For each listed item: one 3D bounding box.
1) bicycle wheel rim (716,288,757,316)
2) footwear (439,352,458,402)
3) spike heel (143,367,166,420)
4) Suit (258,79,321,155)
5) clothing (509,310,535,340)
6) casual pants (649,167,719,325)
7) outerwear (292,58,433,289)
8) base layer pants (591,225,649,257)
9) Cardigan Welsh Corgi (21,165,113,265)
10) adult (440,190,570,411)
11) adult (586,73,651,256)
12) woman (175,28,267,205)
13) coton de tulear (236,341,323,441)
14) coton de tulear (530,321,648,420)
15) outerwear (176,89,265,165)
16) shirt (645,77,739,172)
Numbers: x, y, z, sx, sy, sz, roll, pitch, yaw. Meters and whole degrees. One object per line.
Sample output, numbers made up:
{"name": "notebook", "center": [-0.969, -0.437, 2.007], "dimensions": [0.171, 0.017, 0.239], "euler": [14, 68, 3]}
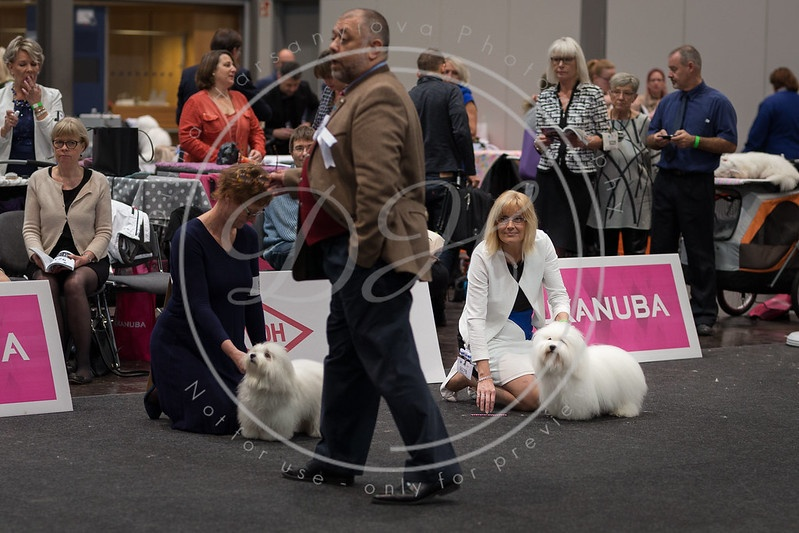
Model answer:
{"name": "bicycle wheel rim", "center": [3.412, 0.385, 9.251], "dimensions": [0.332, 0.374, 0.352], "euler": [-1, 2, 1]}
{"name": "footwear", "center": [0.346, 0.804, 6.543], "dimensions": [0.083, 0.272, 0.154], "euler": [14, 8, 29]}
{"name": "spike heel", "center": [-1.629, 0.842, 6.094], "dimensions": [0.185, 0.290, 0.101], "euler": [6, 8, -6]}
{"name": "Suit", "center": [-1.293, -1.973, 10.900], "dimensions": [0.451, 0.374, 1.274], "euler": [-11, 32, -9]}
{"name": "clothing", "center": [0.844, 0.398, 6.363], "dimensions": [0.128, 0.253, 0.180], "euler": [-2, 2, 42]}
{"name": "casual pants", "center": [2.595, -0.172, 8.463], "dimensions": [0.691, 1.618, 0.383], "euler": [5, 32, 27]}
{"name": "outerwear", "center": [-0.161, -0.550, 5.338], "dimensions": [0.859, 1.363, 0.958], "euler": [1, 2, -4]}
{"name": "base layer pants", "center": [2.181, -0.276, 9.233], "dimensions": [0.667, 0.405, 0.377], "euler": [1, 3, -16]}
{"name": "Cardigan Welsh Corgi", "center": [-2.496, -0.407, 6.887], "dimensions": [0.586, 0.659, 0.446], "euler": [3, 22, -18]}
{"name": "adult", "center": [0.733, 0.322, 6.265], "dimensions": [0.832, 1.589, 0.924], "euler": [-8, 17, -25]}
{"name": "adult", "center": [2.096, -0.791, 8.760], "dimensions": [0.585, 2.027, 0.674], "euler": [1, 11, 10]}
{"name": "woman", "center": [-1.911, -1.870, 9.241], "dimensions": [0.550, 0.705, 1.599], "euler": [14, -30, -25]}
{"name": "coton de tulear", "center": [-0.738, 0.800, 5.832], "dimensions": [0.408, 0.614, 0.759], "euler": [2, -3, 24]}
{"name": "coton de tulear", "center": [1.333, 0.732, 6.326], "dimensions": [0.806, 0.656, 0.551], "euler": [-2, -2, -22]}
{"name": "outerwear", "center": [-1.595, -1.260, 8.237], "dimensions": [0.765, 0.632, 0.511], "euler": [-5, 14, -26]}
{"name": "shirt", "center": [2.602, -1.237, 8.232], "dimensions": [0.792, 0.772, 0.394], "euler": [7, 11, 34]}
